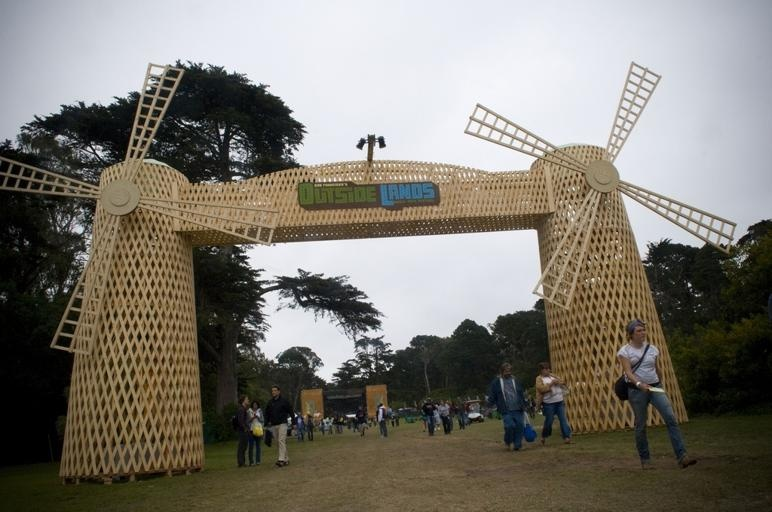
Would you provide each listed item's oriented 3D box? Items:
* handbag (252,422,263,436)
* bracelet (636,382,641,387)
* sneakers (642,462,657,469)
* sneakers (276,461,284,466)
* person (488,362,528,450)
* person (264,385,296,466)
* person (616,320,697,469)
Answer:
[{"bbox_3d":[-3.735,5.017,16.010,0.369,0.495,0.305,2,-17,-20],"label":"handbag"},{"bbox_3d":[4.284,2.171,9.336,0.051,0.054,0.049,-3,-1,0],"label":"bracelet"},{"bbox_3d":[4.577,3.657,9.660,0.117,0.098,0.212,-4,-8,19],"label":"sneakers"},{"bbox_3d":[-2.787,5.526,14.645,0.238,0.124,0.331,-1,-16,-11],"label":"sneakers"},{"bbox_3d":[2.976,3.659,13.397,0.814,2.053,1.266,-7,-16,13],"label":"person"},{"bbox_3d":[-2.863,4.568,14.808,0.719,2.064,1.093,2,-17,-18],"label":"person"},{"bbox_3d":[4.626,2.383,9.668,0.975,2.532,1.093,-14,-19,32],"label":"person"}]
